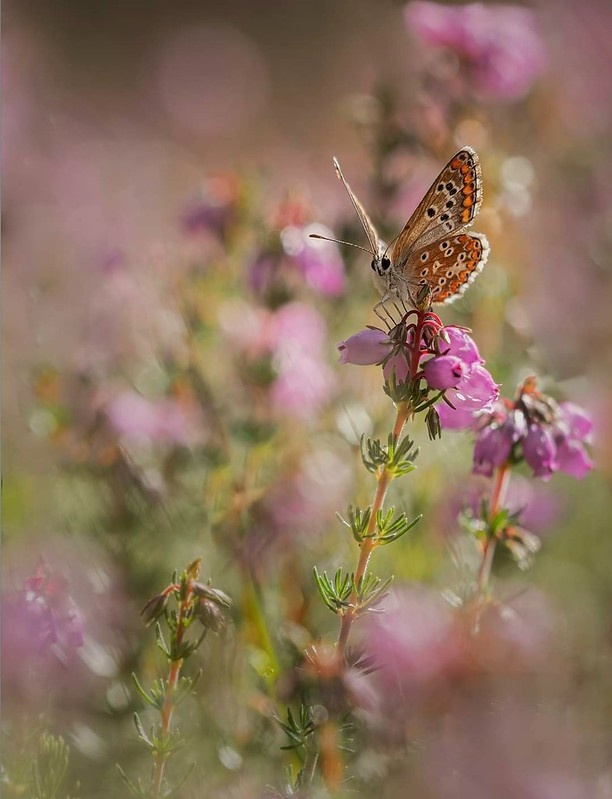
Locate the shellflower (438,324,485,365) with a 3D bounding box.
[{"bbox_3d":[0.121,-0.041,0.683,0.031,0.012,0.035,-3,42,-46],"label":"shellflower"}]

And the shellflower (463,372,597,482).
[{"bbox_3d":[0.245,0.030,0.814,0.100,0.102,0.179,3,2,42],"label":"shellflower"}]

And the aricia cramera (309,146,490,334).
[{"bbox_3d":[0.077,-0.146,0.745,0.165,0.114,0.148,4,2,42],"label":"aricia cramera"}]

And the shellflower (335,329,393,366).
[{"bbox_3d":[0.046,-0.043,0.692,0.041,0.029,0.074,1,1,-5],"label":"shellflower"}]
